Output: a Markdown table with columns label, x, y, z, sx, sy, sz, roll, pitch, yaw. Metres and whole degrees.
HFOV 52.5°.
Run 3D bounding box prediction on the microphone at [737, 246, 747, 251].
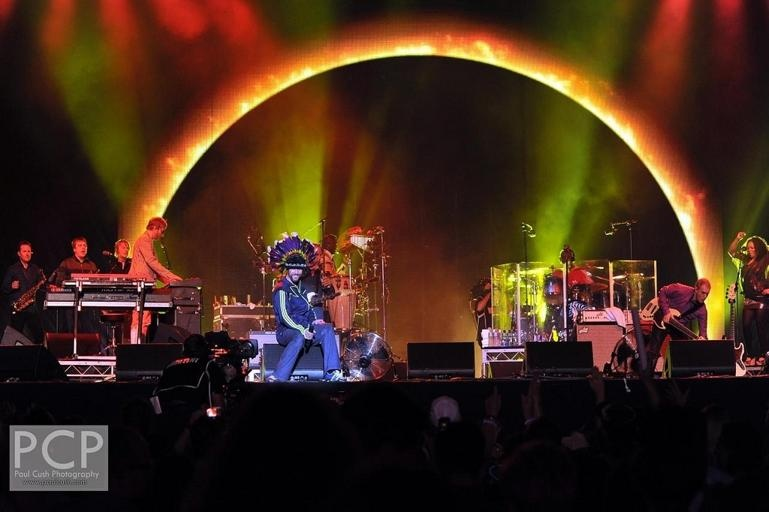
| label | x | y | z | sx | sy | sz | roll | pitch | yaw |
| --- | --- | --- | --- | --- | --- | --- | --- | --- | --- |
| microphone | 6.419 | -0.121 | 13.996 | 0.091 | 0.071 | 0.095 | -1 | -2 | 40 |

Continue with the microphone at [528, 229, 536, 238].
| label | x | y | z | sx | sy | sz | roll | pitch | yaw |
| --- | --- | --- | --- | --- | --- | --- | --- | --- | --- |
| microphone | 2.769 | -0.427 | 14.673 | 0.208 | 0.141 | 0.189 | -2 | 3 | -13 |

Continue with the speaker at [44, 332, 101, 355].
| label | x | y | z | sx | sy | sz | roll | pitch | yaw |
| --- | --- | --- | --- | --- | --- | --- | --- | --- | --- |
| speaker | -4.948 | 1.457 | 12.323 | 0.583 | 0.350 | 0.409 | 4 | -10 | -33 |

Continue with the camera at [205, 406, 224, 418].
| label | x | y | z | sx | sy | sz | roll | pitch | yaw |
| --- | --- | --- | --- | --- | --- | --- | --- | --- | --- |
| camera | -1.930 | 1.769 | 8.848 | 0.119 | 0.083 | 0.118 | 5 | -9 | -36 |

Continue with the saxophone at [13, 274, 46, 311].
| label | x | y | z | sx | sy | sz | roll | pitch | yaw |
| --- | --- | --- | --- | --- | --- | --- | --- | --- | --- |
| saxophone | -5.976 | 0.609 | 13.143 | 0.484 | 0.657 | 0.536 | 6 | -13 | -26 |
